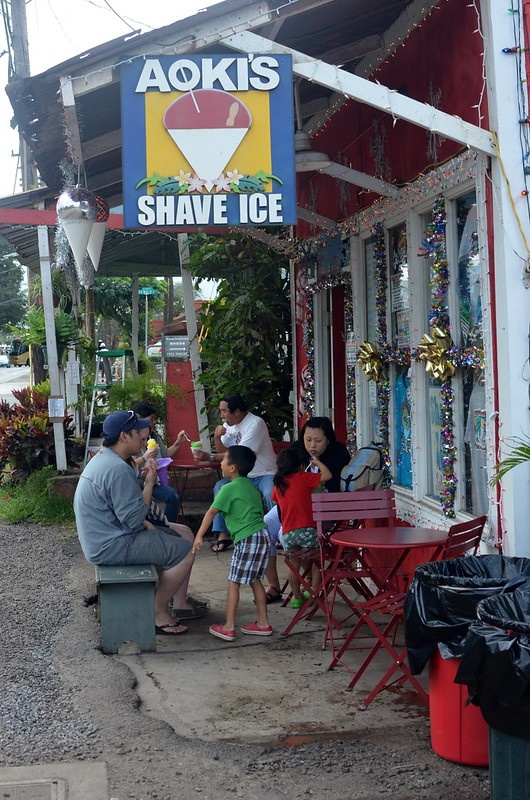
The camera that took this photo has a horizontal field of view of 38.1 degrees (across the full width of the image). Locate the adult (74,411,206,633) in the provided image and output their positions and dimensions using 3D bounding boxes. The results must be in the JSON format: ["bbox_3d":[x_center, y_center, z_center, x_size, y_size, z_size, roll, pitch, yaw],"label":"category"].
[{"bbox_3d":[-0.764,0.746,4.829,0.829,1.337,0.554,0,-2,-25],"label":"adult"}]

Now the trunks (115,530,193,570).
[{"bbox_3d":[-0.698,0.880,4.702,0.294,0.132,0.284,-4,2,-38],"label":"trunks"}]

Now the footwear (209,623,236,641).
[{"bbox_3d":[-0.256,1.388,4.620,0.069,0.068,0.168,12,2,-37],"label":"footwear"}]

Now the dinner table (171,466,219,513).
[{"bbox_3d":[-0.806,1.006,8.824,0.669,0.509,0.675,0,-8,-4],"label":"dinner table"}]

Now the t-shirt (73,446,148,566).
[{"bbox_3d":[-0.967,0.638,4.703,0.392,0.674,0.610,-9,6,-39],"label":"t-shirt"}]

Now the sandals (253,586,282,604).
[{"bbox_3d":[0.015,1.406,5.522,0.138,0.166,0.419,-3,-11,14],"label":"sandals"}]

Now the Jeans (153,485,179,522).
[{"bbox_3d":[-0.845,0.869,6.526,0.296,0.293,0.110,-14,11,-35],"label":"Jeans"}]

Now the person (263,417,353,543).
[{"bbox_3d":[0.279,0.702,5.444,0.424,1.131,0.663,6,4,29],"label":"person"}]

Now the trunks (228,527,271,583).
[{"bbox_3d":[-0.089,0.935,4.590,0.249,0.325,0.187,0,-2,-5],"label":"trunks"}]

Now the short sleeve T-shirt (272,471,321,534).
[{"bbox_3d":[0.209,0.641,4.846,0.407,0.408,0.240,-7,5,13],"label":"short sleeve T-shirt"}]

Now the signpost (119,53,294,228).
[{"bbox_3d":[-0.299,-1.348,3.968,0.881,0.875,0.092,-2,-2,-2],"label":"signpost"}]

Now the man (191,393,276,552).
[{"bbox_3d":[-0.151,0.576,6.181,0.684,1.248,0.674,-1,3,44],"label":"man"}]

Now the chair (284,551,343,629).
[{"bbox_3d":[0.288,1.095,4.763,0.327,0.393,0.302,21,-51,-25],"label":"chair"}]

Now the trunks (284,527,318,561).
[{"bbox_3d":[0.223,0.896,4.765,0.167,0.131,0.166,0,-9,-4],"label":"trunks"}]

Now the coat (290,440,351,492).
[{"bbox_3d":[0.463,0.467,5.539,0.298,0.411,0.161,-5,-8,41],"label":"coat"}]

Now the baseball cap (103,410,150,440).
[{"bbox_3d":[-0.839,0.140,4.594,0.248,0.146,0.153,-28,18,-8],"label":"baseball cap"}]

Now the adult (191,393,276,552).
[{"bbox_3d":[-0.171,0.569,6.214,0.703,1.237,0.587,-2,0,22],"label":"adult"}]

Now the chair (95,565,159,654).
[{"bbox_3d":[-0.806,1.212,4.435,0.332,0.453,0.308,0,-2,-14],"label":"chair"}]

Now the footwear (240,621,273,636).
[{"bbox_3d":[-0.053,1.393,4.701,0.185,0.077,0.074,2,-10,16],"label":"footwear"}]

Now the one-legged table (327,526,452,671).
[{"bbox_3d":[0.703,0.977,3.992,0.732,0.821,0.702,3,-4,-17],"label":"one-legged table"}]
